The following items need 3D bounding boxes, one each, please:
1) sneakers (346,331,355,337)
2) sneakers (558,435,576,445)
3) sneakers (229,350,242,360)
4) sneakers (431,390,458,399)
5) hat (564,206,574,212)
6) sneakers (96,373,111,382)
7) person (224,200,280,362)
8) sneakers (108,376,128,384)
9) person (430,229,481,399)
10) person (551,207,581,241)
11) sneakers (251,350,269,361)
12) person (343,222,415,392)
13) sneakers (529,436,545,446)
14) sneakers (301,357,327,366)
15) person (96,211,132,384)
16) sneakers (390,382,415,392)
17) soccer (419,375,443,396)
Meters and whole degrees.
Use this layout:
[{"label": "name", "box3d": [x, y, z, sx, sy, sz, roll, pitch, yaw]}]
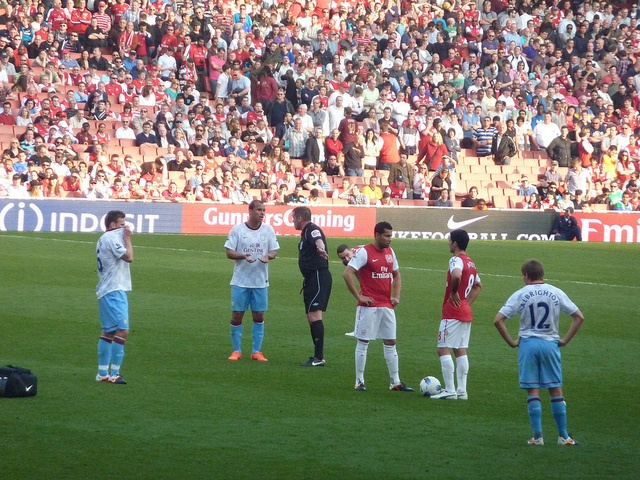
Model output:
[{"label": "sneakers", "box3d": [0.747, 2.318, 34.034, 0.197, 0.075, 0.147, -1, 1, 5]}, {"label": "sneakers", "box3d": [5.179, 4.204, 29.119, 0.378, 0.184, 0.155, -1, 4, -19]}, {"label": "sneakers", "box3d": [-1.985, 2.701, 32.353, 0.322, 0.169, 0.257, -1, 15, -13]}, {"label": "sneakers", "box3d": [2.783, 3.451, 30.869, 0.600, 0.262, 0.225, 1, -3, 2]}, {"label": "hat", "box3d": [9.042, -1.108, 50.443, 0.376, 0.180, 0.232, 12, 5, -42]}, {"label": "sneakers", "box3d": [-4.808, 3.064, 30.755, 0.319, 0.156, 0.120, -4, 6, 15]}, {"label": "person", "box3d": [-1.619, 0.908, 32.465, 1.135, 3.610, 1.168, 4, 14, 7]}, {"label": "sneakers", "box3d": [-4.482, 3.101, 30.640, 0.323, 0.143, 0.165, 2, 4, 17]}, {"label": "person", "box3d": [3.075, 1.664, 30.740, 0.872, 3.633, 1.038, 4, 14, 6]}, {"label": "person", "box3d": [8.978, -0.344, 50.482, 0.988, 1.666, 0.905, -2, 5, -4]}, {"label": "sneakers", "box3d": [-1.430, 2.714, 32.419, 0.198, 0.150, 0.331, -7, 6, -42]}, {"label": "person", "box3d": [1.258, 1.465, 31.010, 1.406, 3.654, 1.141, 1, 14, -3]}, {"label": "sneakers", "box3d": [4.568, 4.210, 29.113, 0.401, 0.168, 0.200, -2, 15, -17]}, {"label": "sneakers", "box3d": [-0.117, 2.816, 32.146, 0.534, 0.231, 0.203, 2, -2, -4]}, {"label": "person", "box3d": [-4.564, 1.271, 30.697, 0.771, 3.644, 1.127, 0, 14, -10]}, {"label": "sneakers", "box3d": [1.833, 3.281, 31.106, 0.519, 0.242, 0.199, 1, 2, 2]}, {"label": "soccer", "box3d": [2.481, 3.288, 30.871, 0.437, 0.415, 0.387, 12, -18, -24]}]
